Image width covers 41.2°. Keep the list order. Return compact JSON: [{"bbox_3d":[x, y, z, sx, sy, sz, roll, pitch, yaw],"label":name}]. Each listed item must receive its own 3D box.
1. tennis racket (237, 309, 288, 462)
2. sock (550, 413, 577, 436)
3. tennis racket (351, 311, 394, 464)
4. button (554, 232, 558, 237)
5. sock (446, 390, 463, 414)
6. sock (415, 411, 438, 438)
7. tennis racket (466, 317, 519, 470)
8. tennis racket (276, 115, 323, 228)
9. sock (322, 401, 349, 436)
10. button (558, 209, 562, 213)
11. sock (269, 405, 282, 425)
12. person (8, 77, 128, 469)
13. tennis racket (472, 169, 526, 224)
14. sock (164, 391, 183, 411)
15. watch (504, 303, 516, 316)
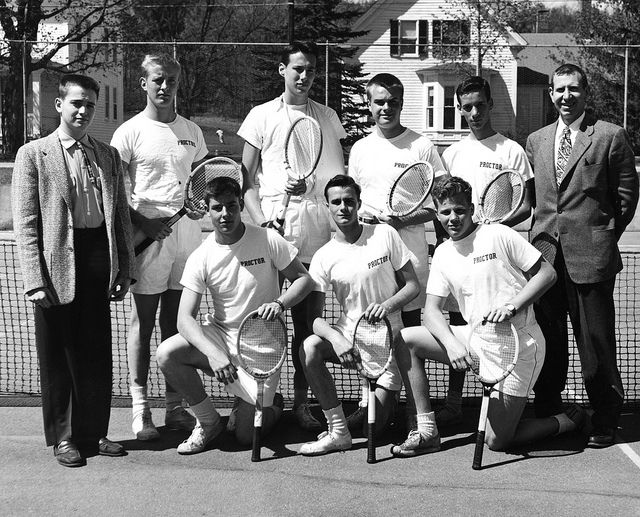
[{"bbox_3d":[-0.442,0.925,6.501,0.405,1.375,0.103,9,39,4],"label":"tennis racket"},{"bbox_3d":[1.891,1.280,6.588,0.193,0.149,0.097,-7,13,-29],"label":"sock"},{"bbox_3d":[0.433,0.923,6.313,0.350,1.039,0.469,-3,12,-11],"label":"tennis racket"},{"bbox_3d":[1.853,-0.196,6.682,0.038,0.041,0.009,-4,-3,34],"label":"button"},{"bbox_3d":[1.099,1.159,6.907,0.124,0.179,0.181,2,-12,19],"label":"sock"},{"bbox_3d":[0.803,1.233,6.327,0.177,0.188,0.138,-6,-3,21],"label":"sock"},{"bbox_3d":[1.244,0.956,6.174,0.380,1.016,0.485,2,12,11],"label":"tennis racket"},{"bbox_3d":[-0.161,-0.698,6.837,0.302,0.980,0.074,13,-3,-16],"label":"tennis racket"},{"bbox_3d":[0.130,1.209,6.396,0.177,0.221,0.096,-4,12,-18],"label":"sock"},{"bbox_3d":[1.876,-0.381,6.657,0.043,0.025,0.011,-1,6,6],"label":"button"},{"bbox_3d":[-0.353,1.236,6.814,0.110,0.069,0.152,-1,7,4],"label":"sock"},{"bbox_3d":[-1.757,0.068,6.223,0.808,2.735,0.677,-6,13,-26],"label":"person"},{"bbox_3d":[1.454,-0.502,6.818,0.125,0.533,0.331,13,38,-38],"label":"tennis racket"},{"bbox_3d":[-1.165,1.131,6.835,0.149,0.167,0.157,0,-4,-1],"label":"sock"},{"bbox_3d":[1.394,0.370,6.218,0.073,0.083,0.083,2,12,11],"label":"watch"}]
